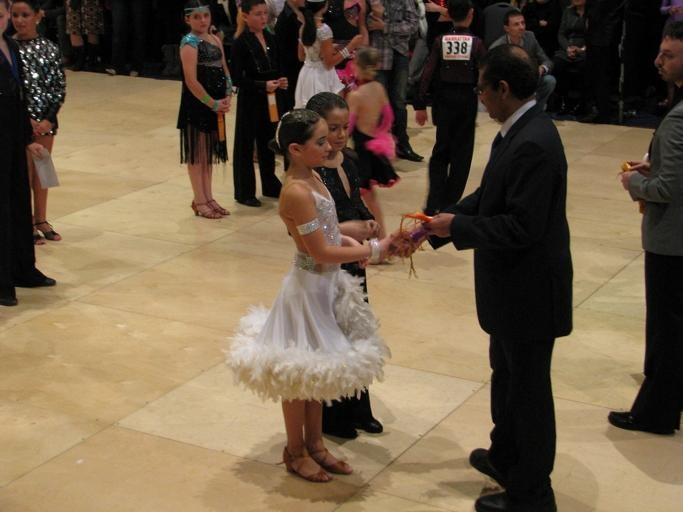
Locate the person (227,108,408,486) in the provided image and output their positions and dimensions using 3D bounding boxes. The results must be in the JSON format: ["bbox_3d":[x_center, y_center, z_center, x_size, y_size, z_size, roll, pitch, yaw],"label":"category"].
[{"bbox_3d":[-0.160,0.244,3.309,0.851,1.939,0.696,-6,19,-21],"label":"person"}]

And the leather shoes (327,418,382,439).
[{"bbox_3d":[0.095,1.052,3.859,0.381,0.137,0.119,-2,28,-8],"label":"leather shoes"}]

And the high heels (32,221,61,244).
[{"bbox_3d":[-3.058,-0.241,6.637,0.424,0.143,0.142,13,26,37],"label":"high heels"}]

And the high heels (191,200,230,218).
[{"bbox_3d":[-1.510,-0.542,7.354,0.329,0.131,0.194,6,26,19],"label":"high heels"}]

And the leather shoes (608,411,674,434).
[{"bbox_3d":[1.838,1.030,3.961,0.362,0.131,0.131,6,13,26],"label":"leather shoes"}]

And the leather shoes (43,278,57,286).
[{"bbox_3d":[-2.606,0.228,5.755,0.103,0.068,0.112,-7,18,-24],"label":"leather shoes"}]

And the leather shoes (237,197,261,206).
[{"bbox_3d":[-1.104,-0.673,7.786,0.299,0.107,0.108,7,10,22],"label":"leather shoes"}]
